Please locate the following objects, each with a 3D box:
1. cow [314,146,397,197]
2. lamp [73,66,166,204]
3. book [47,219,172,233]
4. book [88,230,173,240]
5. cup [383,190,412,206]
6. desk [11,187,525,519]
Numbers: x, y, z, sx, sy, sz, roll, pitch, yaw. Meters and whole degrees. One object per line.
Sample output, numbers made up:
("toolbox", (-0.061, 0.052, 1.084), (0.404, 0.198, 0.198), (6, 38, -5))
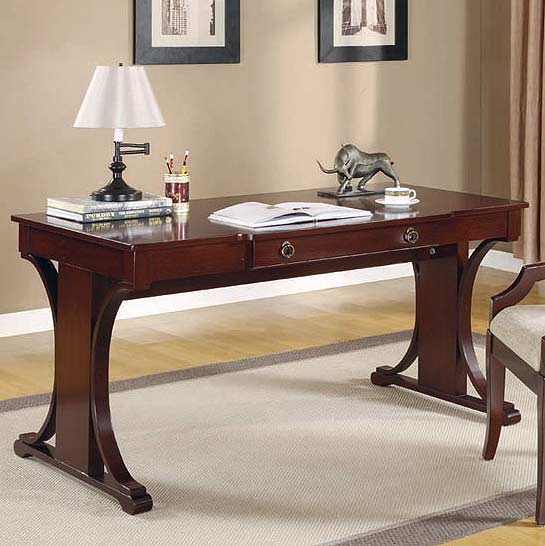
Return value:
("cow", (0.336, -0.426, 2.496), (0.333, 0.213, 0.196), (-3, 4, -18))
("lamp", (-0.503, -0.459, 1.962), (0.264, 0.460, 0.476), (-2, 8, -16))
("book", (-0.473, -0.144, 1.756), (0.356, 0.031, 0.268), (-2, 8, -18))
("book", (-0.380, -0.107, 1.601), (0.208, 0.020, 0.231), (-1, 7, -13))
("cup", (0.452, -0.269, 2.210), (0.083, 0.056, 0.113), (0, 0, 14))
("desk", (0.001, 0.162, 2.067), (1.556, 0.856, 0.734), (-5, 9, -34))
